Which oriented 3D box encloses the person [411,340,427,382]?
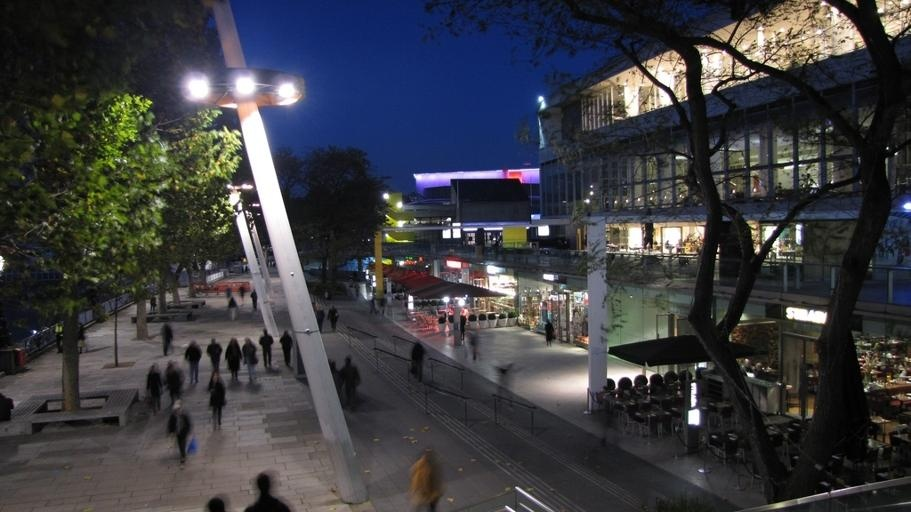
[{"bbox_3d":[-1.812,4.869,27.238,0.591,1.794,1.203,1,7,-4],"label":"person"}]

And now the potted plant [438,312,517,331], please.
[{"bbox_3d":[2.566,4.378,40.687,3.372,0.987,0.812,0,7,-14],"label":"potted plant"}]

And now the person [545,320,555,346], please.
[{"bbox_3d":[5.645,4.449,35.123,0.433,1.388,1.670,3,7,13],"label":"person"}]

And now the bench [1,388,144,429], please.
[{"bbox_3d":[-13.723,5.552,21.221,3.576,0.902,2.232,-1,6,-21],"label":"bench"}]
